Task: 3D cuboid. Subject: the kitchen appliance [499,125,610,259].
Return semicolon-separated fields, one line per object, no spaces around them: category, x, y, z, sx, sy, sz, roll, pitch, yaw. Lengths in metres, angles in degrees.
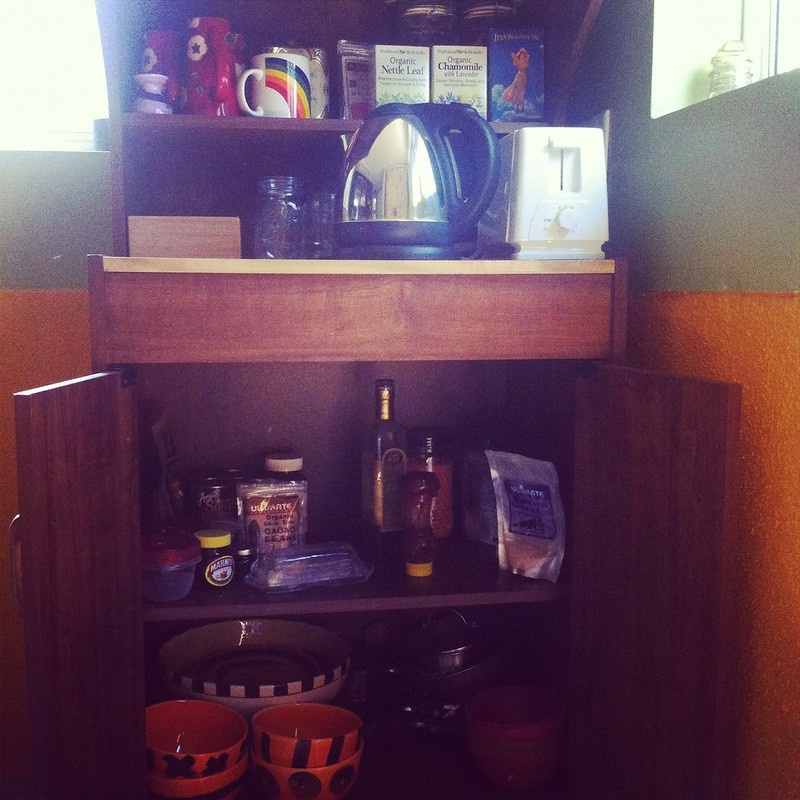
kitchen appliance;0.257;-0.246;1.342;0.129;0.257;0.274;2;-28;7

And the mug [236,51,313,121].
mug;-0.204;-0.535;1.395;0.137;0.114;0.084;-14;20;-42

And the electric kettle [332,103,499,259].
electric kettle;0.036;-0.326;1.317;0.229;0.265;0.213;4;5;13

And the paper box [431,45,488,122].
paper box;0.104;-0.542;1.445;0.100;0.174;0.052;0;-24;4

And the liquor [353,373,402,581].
liquor;-0.044;0.123;1.443;0.070;0.301;0.077;0;9;-16
